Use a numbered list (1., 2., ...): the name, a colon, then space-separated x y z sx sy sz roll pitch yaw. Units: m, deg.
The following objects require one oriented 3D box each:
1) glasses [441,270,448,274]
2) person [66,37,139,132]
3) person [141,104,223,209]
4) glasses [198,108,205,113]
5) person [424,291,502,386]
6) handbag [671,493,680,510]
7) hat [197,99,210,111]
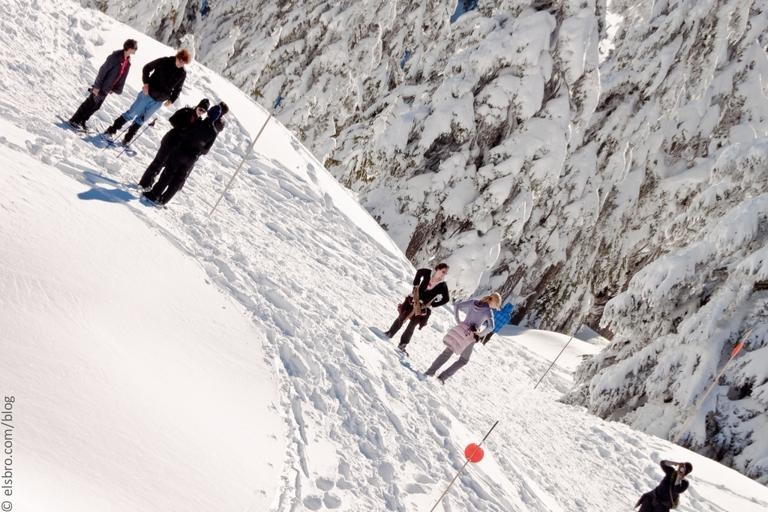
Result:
1. glasses: 1.700 0.435 21.456 0.138 0.081 0.184 -1 -2 -6
2. person: -8.027 -4.747 21.410 1.195 3.429 1.190 25 24 -24
3. person: -5.271 -2.873 20.370 1.002 3.392 1.024 28 28 -31
4. glasses: -4.755 -3.740 19.702 0.100 0.116 0.038 9 4 2
5. person: 2.201 2.265 21.406 1.144 2.988 1.129 31 1 1
6. handbag: 7.727 6.498 20.175 0.270 0.380 0.119 31 1 -42
7. hat: -4.699 -3.920 19.758 0.266 0.367 0.308 32 1 -17
